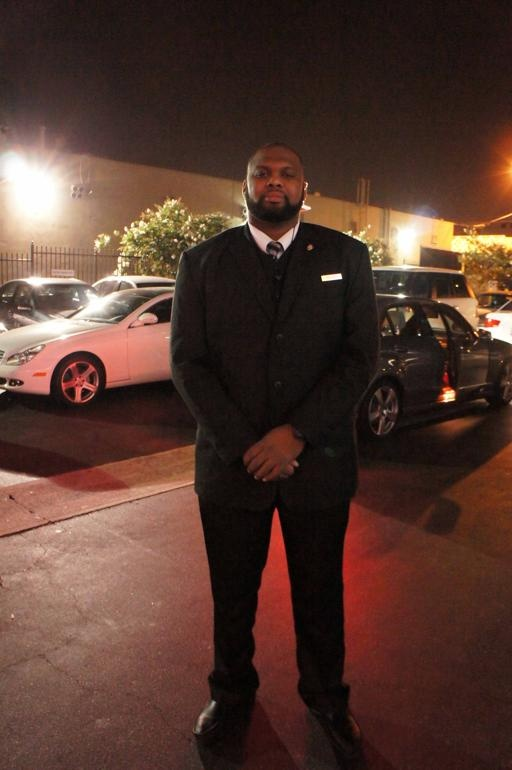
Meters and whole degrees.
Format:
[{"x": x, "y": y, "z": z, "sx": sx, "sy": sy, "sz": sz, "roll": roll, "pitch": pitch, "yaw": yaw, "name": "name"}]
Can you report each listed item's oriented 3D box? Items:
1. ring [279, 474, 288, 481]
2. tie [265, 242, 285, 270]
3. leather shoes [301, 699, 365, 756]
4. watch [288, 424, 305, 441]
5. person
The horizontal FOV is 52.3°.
[{"x": 0.071, "y": 0.248, "z": 1.402, "sx": 0.017, "sy": 0.024, "sz": 0.023, "roll": 3, "pitch": -12, "yaw": -39, "name": "ring"}, {"x": 0.056, "y": -0.357, "z": 1.464, "sx": 0.048, "sy": 0.078, "sz": 0.018, "roll": -5, "pitch": 0, "yaw": -2, "name": "tie"}, {"x": 0.250, "y": 1.057, "z": 1.685, "sx": 0.071, "sy": 0.085, "sz": 0.215, "roll": -19, "pitch": 29, "yaw": -16, "name": "leather shoes"}, {"x": 0.105, "y": 0.125, "z": 1.347, "sx": 0.014, "sy": 0.041, "sz": 0.030, "roll": -50, "pitch": 25, "yaw": -15, "name": "watch"}, {"x": 0.050, "y": 0.181, "z": 1.489, "sx": 0.552, "sy": 1.717, "sz": 0.486, "roll": 1, "pitch": 5, "yaw": 6, "name": "person"}]
